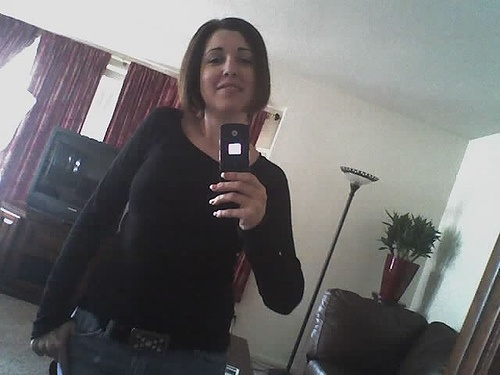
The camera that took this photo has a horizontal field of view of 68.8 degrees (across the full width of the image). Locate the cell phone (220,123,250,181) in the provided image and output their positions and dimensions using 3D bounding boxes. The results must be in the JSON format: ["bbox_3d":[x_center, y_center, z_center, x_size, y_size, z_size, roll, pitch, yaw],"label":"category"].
[{"bbox_3d":[-0.057,-0.143,1.369,0.116,0.208,0.021,-2,35,-5],"label":"cell phone"}]

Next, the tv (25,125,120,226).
[{"bbox_3d":[-1.643,-0.083,3.736,0.835,0.786,0.615,17,-3,-5],"label":"tv"}]

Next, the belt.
[{"bbox_3d":[-0.361,0.536,1.287,0.525,0.146,0.033,17,-5,-2],"label":"belt"}]

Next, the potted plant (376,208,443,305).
[{"bbox_3d":[1.400,0.651,3.316,0.537,0.791,0.514,13,-11,43],"label":"potted plant"}]
